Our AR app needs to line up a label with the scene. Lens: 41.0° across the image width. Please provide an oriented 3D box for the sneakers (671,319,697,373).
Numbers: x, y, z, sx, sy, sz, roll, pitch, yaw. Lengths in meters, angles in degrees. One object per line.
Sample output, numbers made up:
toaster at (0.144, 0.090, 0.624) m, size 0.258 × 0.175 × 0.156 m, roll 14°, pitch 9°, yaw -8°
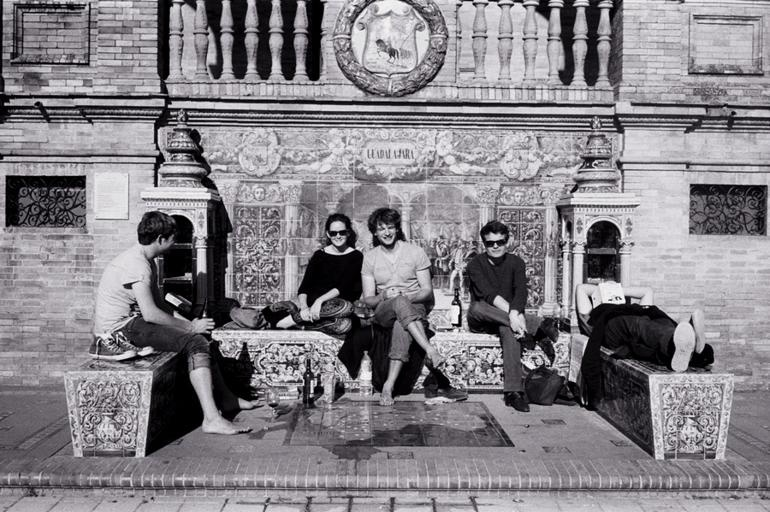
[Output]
sneakers at (3.520, 1.058, 12.105) m, size 0.259 × 0.579 × 0.237 m, roll 8°, pitch 4°, yaw 15°

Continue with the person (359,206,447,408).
person at (0.202, 0.640, 13.869) m, size 0.996 × 2.515 × 1.592 m, roll 0°, pitch 5°, yaw -7°

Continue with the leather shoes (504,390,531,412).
leather shoes at (1.723, 1.882, 13.400) m, size 0.227 × 0.232 × 0.357 m, roll -2°, pitch 5°, yaw -26°

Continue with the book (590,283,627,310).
book at (2.967, 0.511, 13.760) m, size 0.456 × 0.440 × 0.330 m, roll -2°, pitch -5°, yaw 4°

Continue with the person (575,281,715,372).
person at (3.168, 0.843, 12.996) m, size 0.841 × 0.612 × 2.038 m, roll -2°, pitch 6°, yaw -14°

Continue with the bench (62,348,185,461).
bench at (-3.165, 1.551, 12.519) m, size 1.038 × 1.028 × 1.708 m, roll 0°, pitch 1°, yaw 5°

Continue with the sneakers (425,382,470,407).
sneakers at (0.788, 1.835, 13.687) m, size 0.700 × 0.288 × 0.224 m, roll -3°, pitch 8°, yaw 1°

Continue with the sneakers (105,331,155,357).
sneakers at (-3.069, 1.062, 12.442) m, size 0.681 × 0.293 × 0.223 m, roll 5°, pitch 6°, yaw -3°

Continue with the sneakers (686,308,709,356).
sneakers at (3.793, 0.906, 12.296) m, size 0.206 × 0.555 × 0.237 m, roll -2°, pitch -8°, yaw -16°
